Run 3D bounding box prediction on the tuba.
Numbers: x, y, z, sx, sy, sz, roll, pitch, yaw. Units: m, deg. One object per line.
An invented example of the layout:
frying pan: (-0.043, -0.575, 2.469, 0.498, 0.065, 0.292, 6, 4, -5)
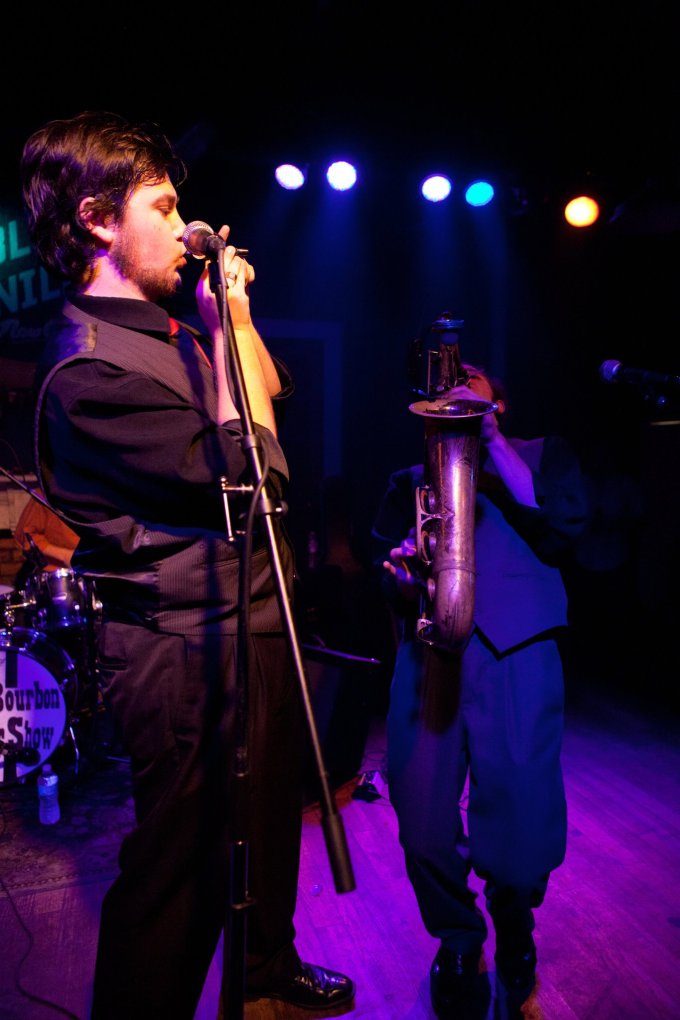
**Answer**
tuba: (0.277, -0.043, 2.350, 0.173, 0.820, 0.240, -2, 1, -29)
